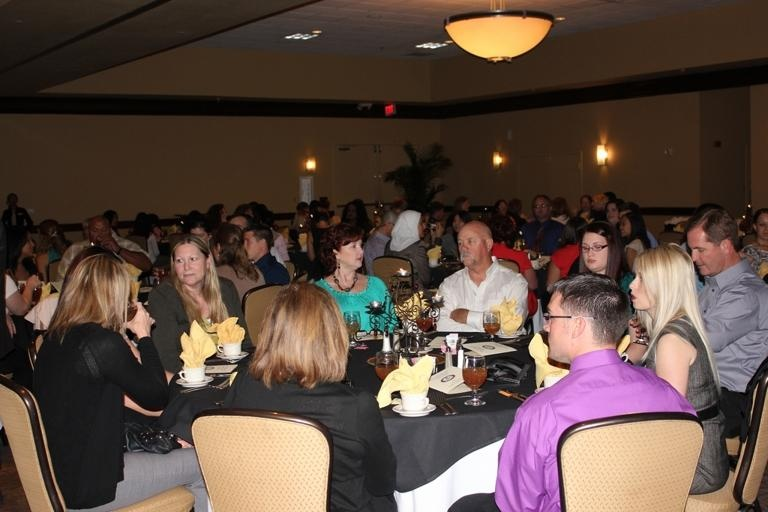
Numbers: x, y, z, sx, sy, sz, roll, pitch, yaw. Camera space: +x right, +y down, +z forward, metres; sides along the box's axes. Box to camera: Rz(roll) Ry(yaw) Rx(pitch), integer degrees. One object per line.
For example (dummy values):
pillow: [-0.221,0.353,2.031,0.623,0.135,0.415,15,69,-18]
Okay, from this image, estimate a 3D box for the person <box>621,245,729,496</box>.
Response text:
person: [1.272,0.508,2.585,0.562,0.999,0.622,-4,-4,15]

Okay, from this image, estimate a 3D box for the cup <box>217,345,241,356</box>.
cup: [-0.887,0.528,3.154,0.087,0.062,0.070,-3,3,-3]

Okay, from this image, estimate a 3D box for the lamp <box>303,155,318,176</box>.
lamp: [-1.963,-2.367,14.584,0.407,0.629,0.419,-1,0,-2]

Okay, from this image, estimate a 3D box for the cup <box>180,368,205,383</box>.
cup: [-0.964,0.595,2.778,0.099,0.061,0.081,-2,1,-5]

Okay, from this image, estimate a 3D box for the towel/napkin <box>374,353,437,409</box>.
towel/napkin: [0.092,0.536,2.343,0.225,0.225,0.075,-7,6,-6]

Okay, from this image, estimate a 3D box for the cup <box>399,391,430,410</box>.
cup: [0.136,0.616,2.368,0.096,0.064,0.076,3,-4,-13]

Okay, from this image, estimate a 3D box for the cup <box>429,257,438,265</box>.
cup: [0.629,0.069,7.073,0.088,0.069,0.088,0,1,0]

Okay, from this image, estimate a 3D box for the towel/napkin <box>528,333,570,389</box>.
towel/napkin: [0.760,0.484,2.595,0.210,0.082,0.218,0,5,13]
